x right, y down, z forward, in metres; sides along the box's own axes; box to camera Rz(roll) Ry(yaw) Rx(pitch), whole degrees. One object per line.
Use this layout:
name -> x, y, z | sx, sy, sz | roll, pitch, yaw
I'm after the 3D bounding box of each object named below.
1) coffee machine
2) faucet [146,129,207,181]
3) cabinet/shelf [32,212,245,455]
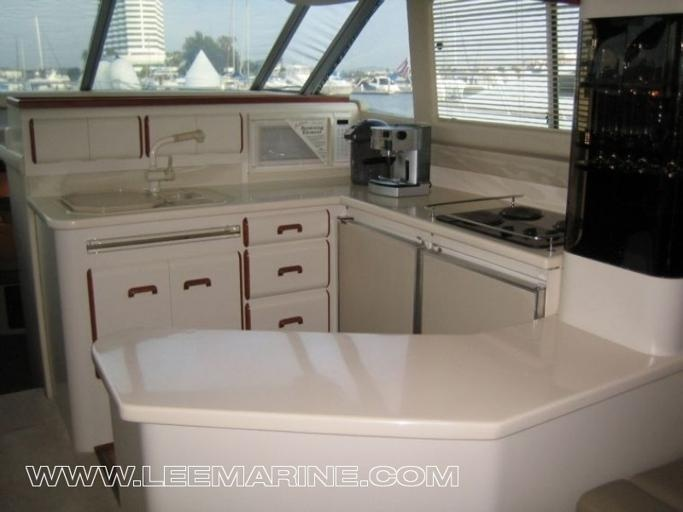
coffee machine -> 0.301, -0.536, 3.033 | 0.382, 0.471, 0.469 | -3, 15, -14
faucet -> -0.883, -0.510, 2.931 | 0.300, 0.310, 0.090 | -6, 28, -18
cabinet/shelf -> -1.020, 0.410, 3.031 | 1.011, 1.228, 0.969 | -4, 6, -17
